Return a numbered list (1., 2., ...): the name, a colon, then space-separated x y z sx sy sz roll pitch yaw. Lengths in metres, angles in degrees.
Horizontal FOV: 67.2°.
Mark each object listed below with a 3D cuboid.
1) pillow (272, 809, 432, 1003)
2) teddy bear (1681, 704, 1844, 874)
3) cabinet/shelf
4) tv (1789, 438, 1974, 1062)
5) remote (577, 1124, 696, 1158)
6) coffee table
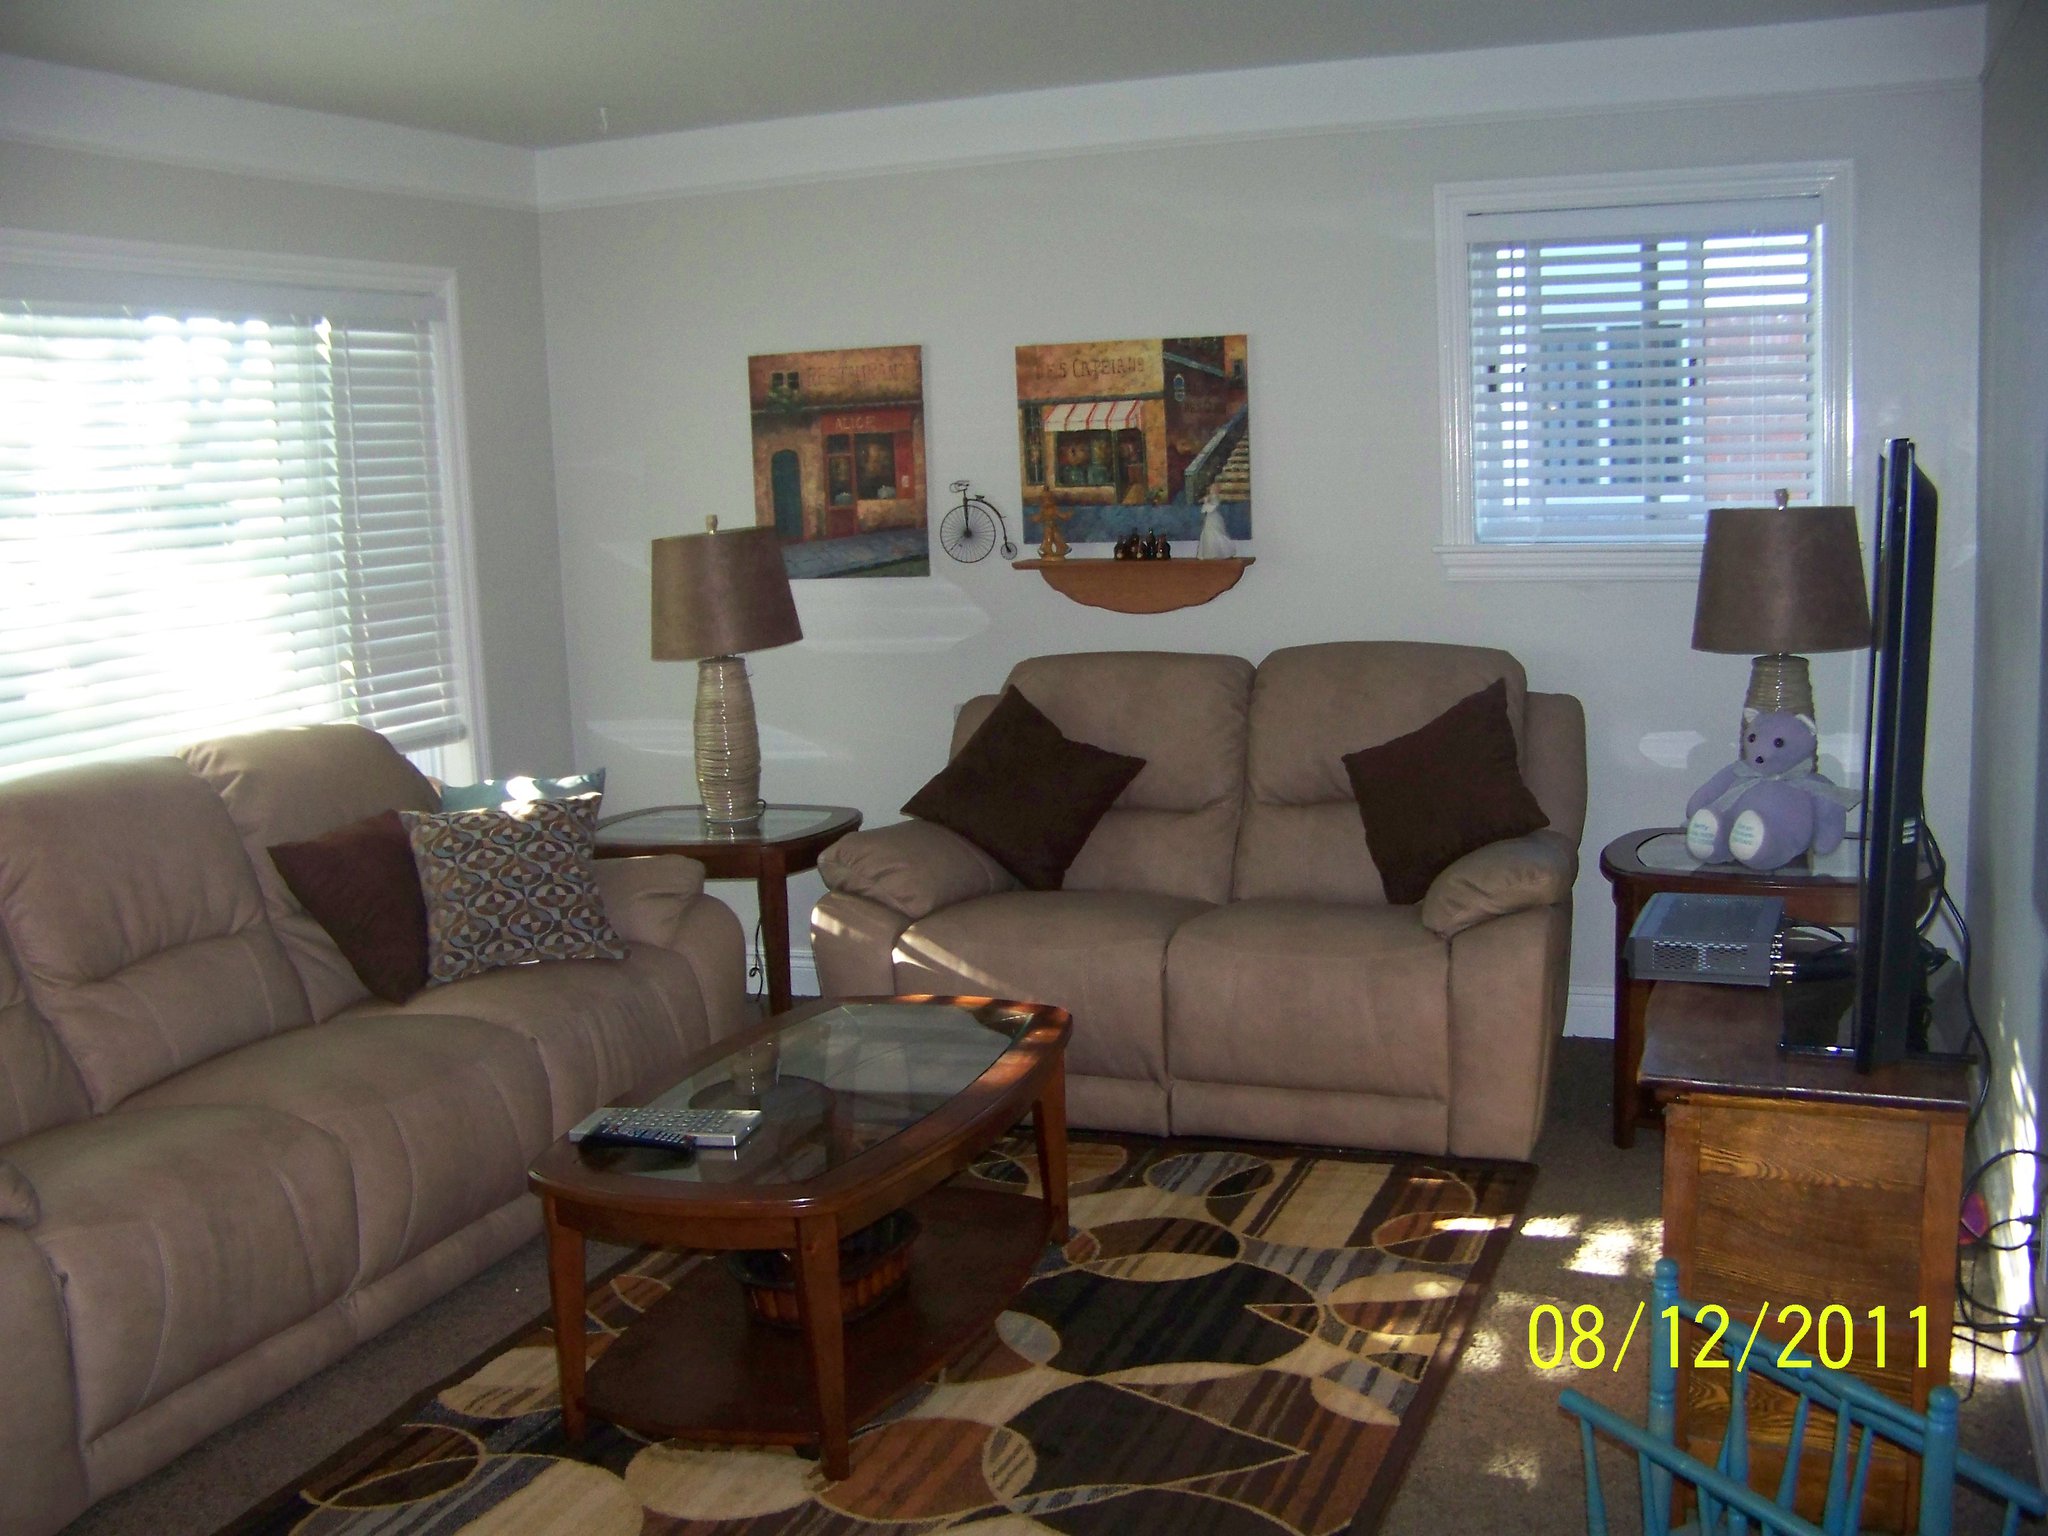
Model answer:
1. pillow: -1.669 0.346 3.871 0.479 0.401 0.135 -14 5 -6
2. teddy bear: 1.860 0.022 3.870 0.382 0.410 0.362 2 19 27
3. cabinet/shelf: 1.270 0.699 2.558 0.483 0.510 0.504 5 16 28
4. tv: 1.453 -0.060 2.598 0.213 0.974 0.684 5 16 30
5. remote: -0.778 0.747 3.075 0.161 0.029 0.084 1 7 5
6. coffee table: -0.469 0.909 3.117 0.766 0.438 1.177 -1 7 19
